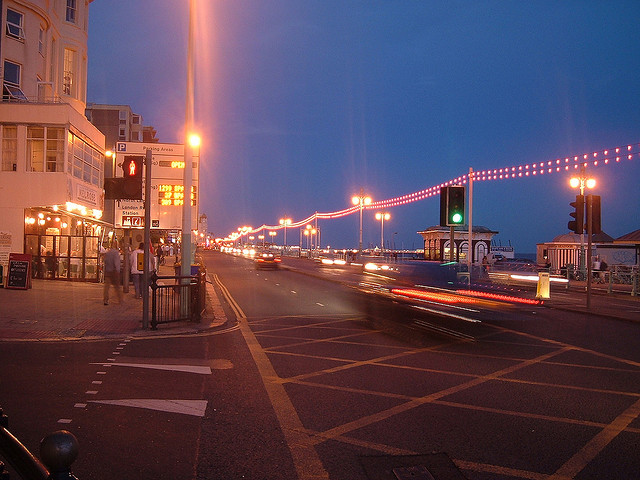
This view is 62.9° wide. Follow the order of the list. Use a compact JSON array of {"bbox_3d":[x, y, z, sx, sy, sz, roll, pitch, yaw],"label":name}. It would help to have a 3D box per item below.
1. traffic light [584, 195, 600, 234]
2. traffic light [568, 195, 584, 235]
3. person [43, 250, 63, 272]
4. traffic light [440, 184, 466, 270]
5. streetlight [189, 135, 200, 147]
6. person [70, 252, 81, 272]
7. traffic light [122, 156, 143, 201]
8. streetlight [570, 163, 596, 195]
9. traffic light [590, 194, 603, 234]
[{"bbox_3d":[10.282,-1.037,19.932,0.644,1.881,0.399,4,-28,26],"label":"traffic light"},{"bbox_3d":[9.601,-1.028,19.716,0.467,1.483,1.817,2,2,27],"label":"traffic light"},{"bbox_3d":[-13.009,1.003,25.930,0.907,0.984,0.387,1,2,3],"label":"person"},{"bbox_3d":[5.464,-0.268,21.740,0.684,3.983,1.077,0,1,-4],"label":"traffic light"},{"bbox_3d":[-3.834,-3.126,16.041,0.215,0.491,0.449,3,-4,17],"label":"streetlight"},{"bbox_3d":[-12.105,1.079,26.362,0.421,0.922,1.234,0,2,-25],"label":"person"},{"bbox_3d":[-4.587,-1.579,13.011,0.474,1.107,0.430,1,2,-11],"label":"traffic light"},{"bbox_3d":[13.047,-3.001,26.045,0.852,1.550,0.919,16,29,23],"label":"streetlight"},{"bbox_3d":[10.333,-1.025,19.705,0.394,1.451,0.257,5,13,45],"label":"traffic light"}]
